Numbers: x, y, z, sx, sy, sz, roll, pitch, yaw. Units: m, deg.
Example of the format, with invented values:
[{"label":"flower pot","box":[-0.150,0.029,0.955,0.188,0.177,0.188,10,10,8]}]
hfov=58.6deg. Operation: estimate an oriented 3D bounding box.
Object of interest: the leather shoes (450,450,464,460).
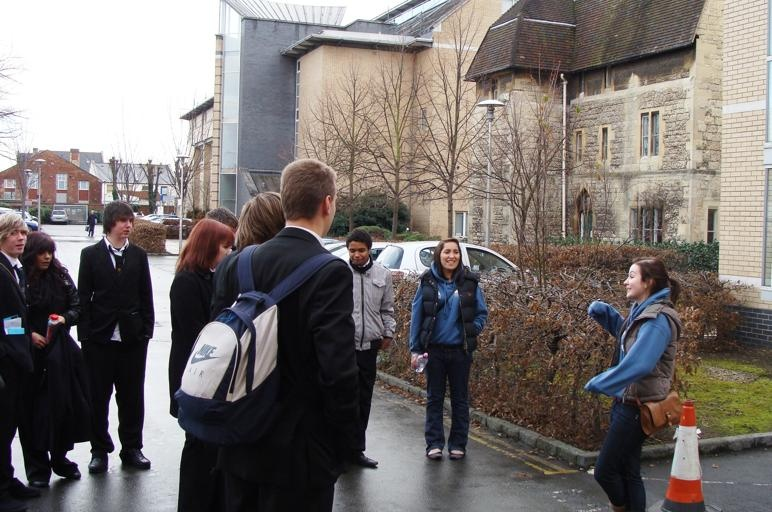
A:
[{"label":"leather shoes","box":[0.867,2.392,8.281,0.198,0.109,0.133,0,5,-6]}]

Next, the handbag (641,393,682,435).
[{"label":"handbag","box":[2.655,1.528,6.575,0.479,0.381,0.161,-2,6,-28]}]

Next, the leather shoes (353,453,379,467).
[{"label":"leather shoes","box":[-0.230,2.416,8.116,0.314,0.139,0.121,7,5,16]}]

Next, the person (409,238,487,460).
[{"label":"person","box":[0.766,1.119,8.475,0.898,2.612,0.733,1,5,8]}]

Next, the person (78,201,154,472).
[{"label":"person","box":[-3.073,1.094,7.846,0.800,2.604,0.708,-2,5,-21]}]

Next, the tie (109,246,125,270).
[{"label":"tie","box":[-3.097,0.030,7.877,0.171,0.256,0.095,3,6,-13]}]

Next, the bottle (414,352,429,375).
[{"label":"bottle","box":[0.442,1.316,8.412,0.114,0.242,0.316,2,5,20]}]

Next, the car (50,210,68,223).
[{"label":"car","box":[-35.526,-4.075,74.823,1.567,1.277,2.072,-2,6,-30]}]

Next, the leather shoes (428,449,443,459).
[{"label":"leather shoes","box":[0.599,2.388,8.283,0.184,0.120,0.132,1,5,2]}]

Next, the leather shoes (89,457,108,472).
[{"label":"leather shoes","box":[-3.216,2.338,7.688,0.202,0.160,0.176,-2,6,-27]}]

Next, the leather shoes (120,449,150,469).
[{"label":"leather shoes","box":[-2.851,2.306,7.844,0.418,0.196,0.161,2,1,33]}]

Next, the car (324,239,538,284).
[{"label":"car","box":[0.931,0.046,13.864,2.817,1.045,1.447,-3,4,-22]}]
